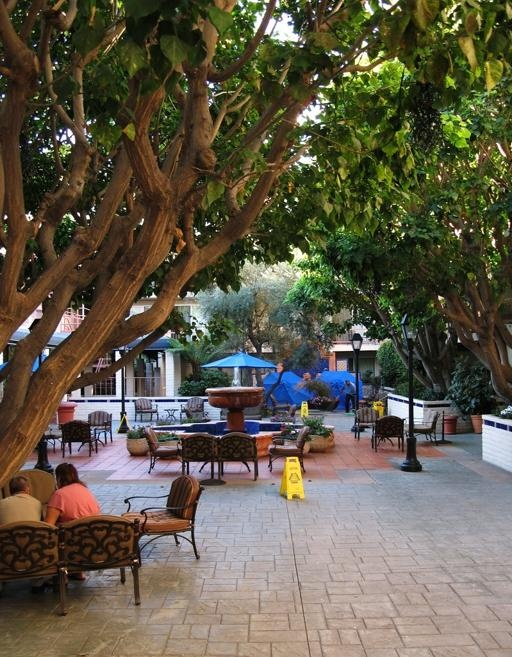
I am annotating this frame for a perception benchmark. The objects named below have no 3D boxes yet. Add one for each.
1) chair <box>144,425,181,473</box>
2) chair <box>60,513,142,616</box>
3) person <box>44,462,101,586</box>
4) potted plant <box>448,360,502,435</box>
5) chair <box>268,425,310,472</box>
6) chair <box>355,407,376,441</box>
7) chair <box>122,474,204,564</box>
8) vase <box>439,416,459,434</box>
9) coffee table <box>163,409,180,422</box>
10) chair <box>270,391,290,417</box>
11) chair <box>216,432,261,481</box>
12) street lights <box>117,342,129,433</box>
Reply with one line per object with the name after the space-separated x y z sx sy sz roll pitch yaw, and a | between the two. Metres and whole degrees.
-2.458 3.216 13.326 1.050 1.089 0.983 3 -12 -25 | chair
-1.657 2.415 5.208 0.800 0.923 0.675 3 -14 -21 | chair
-2.082 2.135 5.590 0.737 1.154 0.579 -7 -10 32 | person
9.111 2.554 20.052 1.758 2.434 2.008 -3 -6 41 | potted plant
0.873 3.061 12.716 1.317 1.345 1.143 0 -8 -2 | chair
4.348 3.766 19.841 1.045 1.278 1.088 0 -4 -1 | chair
-1.311 2.549 6.688 1.008 1.045 0.916 4 -8 -19 | chair
7.599 3.784 19.452 0.405 0.757 2.329 -4 -8 29 | vase
-4.306 4.414 25.321 0.834 0.765 0.812 0 -7 -6 | coffee table
1.331 4.306 28.133 1.322 1.440 1.135 0 -1 10 | chair
-0.416 2.892 12.049 1.021 1.290 1.175 0 5 2 | chair
-5.875 2.755 22.066 0.747 3.662 0.687 -1 -8 -18 | street lights
